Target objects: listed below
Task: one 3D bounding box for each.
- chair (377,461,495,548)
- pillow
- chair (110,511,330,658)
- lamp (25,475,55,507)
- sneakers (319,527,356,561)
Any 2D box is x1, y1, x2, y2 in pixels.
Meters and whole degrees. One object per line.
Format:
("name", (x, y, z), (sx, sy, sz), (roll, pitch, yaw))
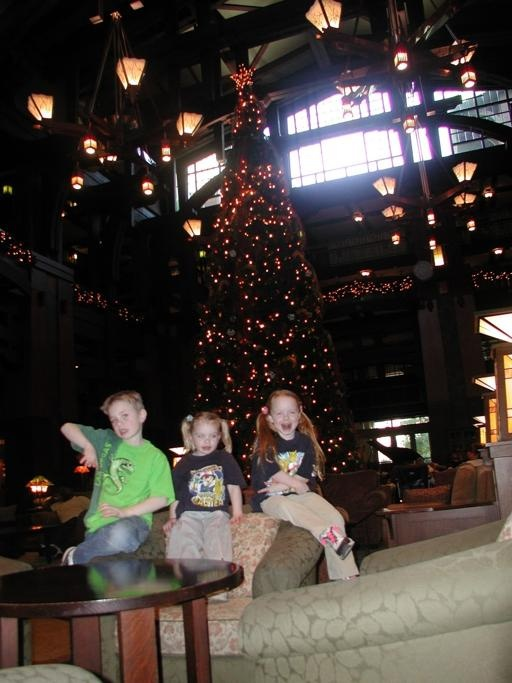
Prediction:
("chair", (1.274, 1.287, 4.112), (0.722, 0.684, 0.919), (-5, -26, 7))
("pillow", (-0.033, 0.931, 2.605), (0.384, 0.357, 0.110), (0, -30, 12))
("chair", (-0.142, 1.056, 2.556), (0.909, 0.542, 0.837), (-6, -8, -5))
("lamp", (-3.300, 2.269, 9.164), (0.465, 0.510, 0.448), (-4, -11, 9))
("sneakers", (0.321, 0.798, 2.390), (0.082, 0.065, 0.171), (23, -6, -8))
